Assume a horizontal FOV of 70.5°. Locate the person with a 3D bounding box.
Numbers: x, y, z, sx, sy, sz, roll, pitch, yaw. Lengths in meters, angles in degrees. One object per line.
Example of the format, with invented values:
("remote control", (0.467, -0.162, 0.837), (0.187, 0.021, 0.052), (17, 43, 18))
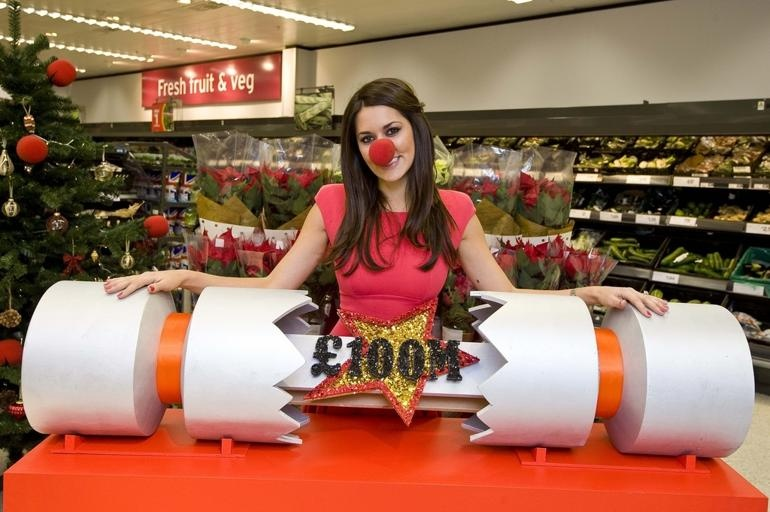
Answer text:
("person", (0.006, -0.091, 1.855), (1.639, 0.956, 0.645), (2, 16, -1))
